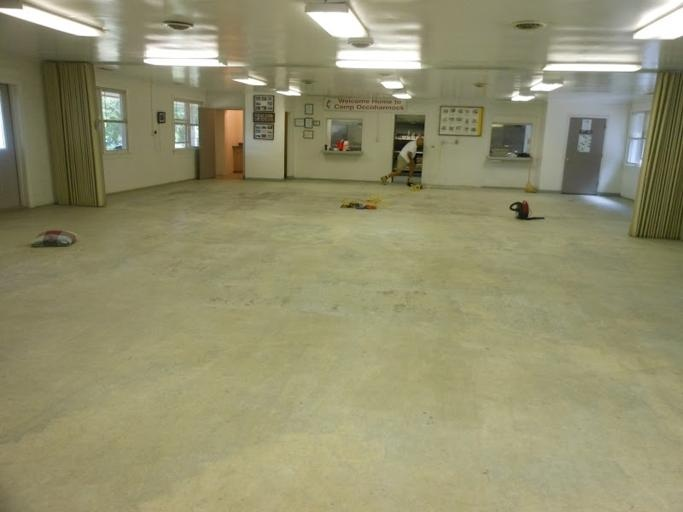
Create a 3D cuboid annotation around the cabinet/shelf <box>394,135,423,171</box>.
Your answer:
[{"bbox_3d":[2.338,-3.418,15.699,0.779,1.258,2.480,5,17,9],"label":"cabinet/shelf"}]

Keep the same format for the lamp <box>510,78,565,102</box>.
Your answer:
[{"bbox_3d":[4.716,-4.018,11.203,0.459,0.108,1.298,6,4,1],"label":"lamp"}]
